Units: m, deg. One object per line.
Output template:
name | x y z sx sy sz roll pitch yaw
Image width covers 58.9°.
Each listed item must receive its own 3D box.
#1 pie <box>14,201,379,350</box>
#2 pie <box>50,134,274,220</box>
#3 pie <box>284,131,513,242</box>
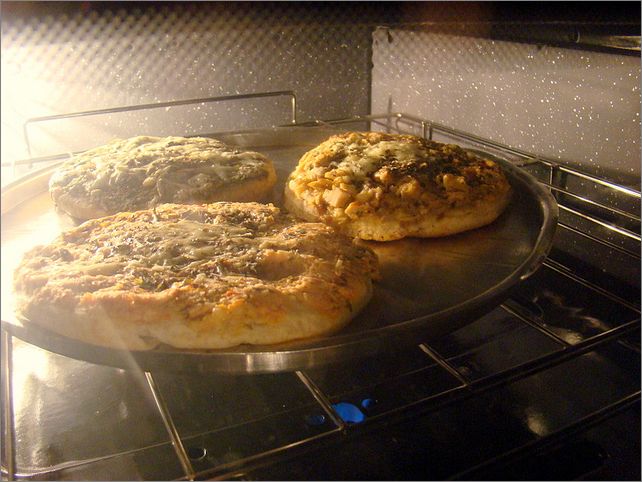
pie | -0.210 0.051 1.031 0.639 0.128 0.366 -7 34 -3
pie | -0.370 -0.151 1.317 0.370 0.053 0.274 1 26 -2
pie | 0.172 -0.124 1.281 0.381 0.081 0.315 11 31 22
